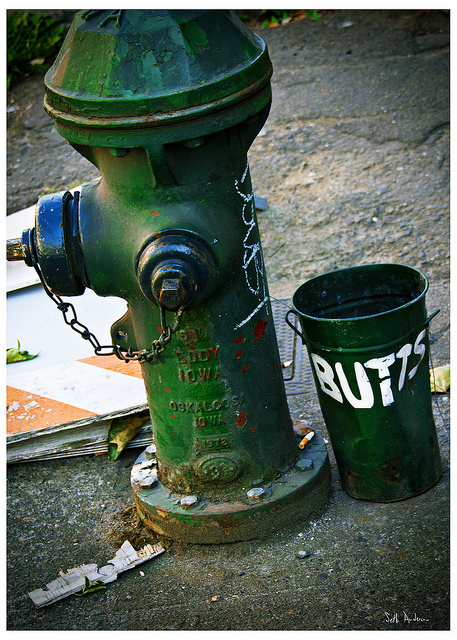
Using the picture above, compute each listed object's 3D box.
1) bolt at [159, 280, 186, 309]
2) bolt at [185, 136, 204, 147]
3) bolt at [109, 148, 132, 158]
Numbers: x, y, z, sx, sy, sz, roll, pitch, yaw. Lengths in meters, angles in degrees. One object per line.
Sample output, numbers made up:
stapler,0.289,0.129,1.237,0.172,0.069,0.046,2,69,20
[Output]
bolt,-0.170,-0.083,2.153,0.081,0.081,0.043,2,29,5
bolt,-0.100,-0.535,2.168,0.072,0.019,0.045,-17,9,-19
bolt,-0.332,-0.510,2.188,0.051,0.034,0.040,-2,-30,-2
